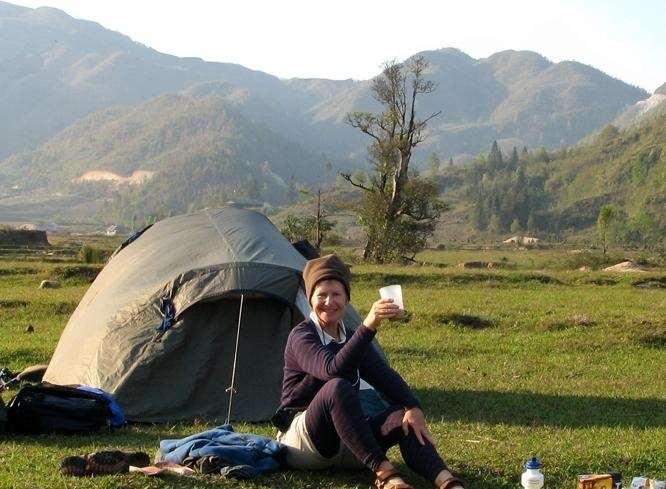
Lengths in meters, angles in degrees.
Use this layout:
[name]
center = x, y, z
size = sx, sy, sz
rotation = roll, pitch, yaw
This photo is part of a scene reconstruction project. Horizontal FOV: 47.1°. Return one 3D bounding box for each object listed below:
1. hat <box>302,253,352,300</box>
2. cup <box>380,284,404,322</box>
[hat]
center = -0.082, 0.457, 11.584
size = 0.603, 0.676, 0.591
rotation = 2, 5, 12
[cup]
center = 0.839, 0.823, 11.064
size = 0.346, 0.532, 0.560
rotation = 3, -7, 3
